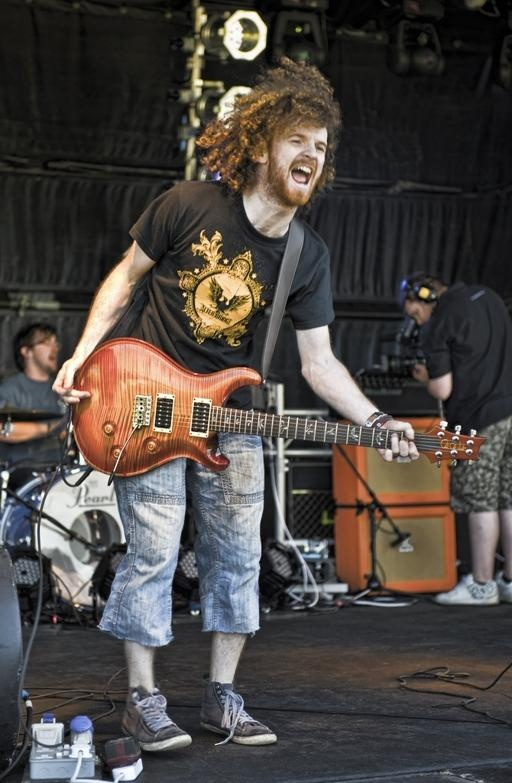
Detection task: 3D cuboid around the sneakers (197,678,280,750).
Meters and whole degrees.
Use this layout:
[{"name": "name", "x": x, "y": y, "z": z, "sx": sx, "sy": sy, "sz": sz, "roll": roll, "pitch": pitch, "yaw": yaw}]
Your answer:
[{"name": "sneakers", "x": -0.056, "y": 0.896, "z": 2.463, "sx": 0.119, "sy": 0.128, "sz": 0.311, "roll": 4, "pitch": -8, "yaw": -34}]

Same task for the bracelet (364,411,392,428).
[{"name": "bracelet", "x": 0.353, "y": 0.082, "z": 2.521, "sx": 0.069, "sy": 0.040, "sz": 0.066, "roll": -25, "pitch": -22, "yaw": 39}]

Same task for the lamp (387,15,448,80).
[{"name": "lamp", "x": 1.150, "y": -2.459, "z": 6.233, "sx": 0.429, "sy": 0.360, "sz": 0.178, "roll": -2, "pitch": -3, "yaw": -5}]

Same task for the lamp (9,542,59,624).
[{"name": "lamp", "x": -1.170, "y": 1.007, "z": 4.550, "sx": 0.280, "sy": 0.388, "sz": 0.327, "roll": 2, "pitch": -5, "yaw": -6}]

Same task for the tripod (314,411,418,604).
[{"name": "tripod", "x": 0.589, "y": 0.905, "z": 5.650, "sx": 0.802, "sy": 1.180, "sz": 0.702, "roll": -2, "pitch": -2, "yaw": 11}]

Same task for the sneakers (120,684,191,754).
[{"name": "sneakers", "x": -0.261, "y": 0.860, "z": 2.314, "sx": 0.170, "sy": 0.147, "sz": 0.075, "roll": -3, "pitch": -7, "yaw": 41}]

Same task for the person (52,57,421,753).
[{"name": "person", "x": -0.088, "y": -0.026, "z": 2.509, "sx": 0.939, "sy": 1.978, "sz": 0.456, "roll": 3, "pitch": -5, "yaw": -12}]
